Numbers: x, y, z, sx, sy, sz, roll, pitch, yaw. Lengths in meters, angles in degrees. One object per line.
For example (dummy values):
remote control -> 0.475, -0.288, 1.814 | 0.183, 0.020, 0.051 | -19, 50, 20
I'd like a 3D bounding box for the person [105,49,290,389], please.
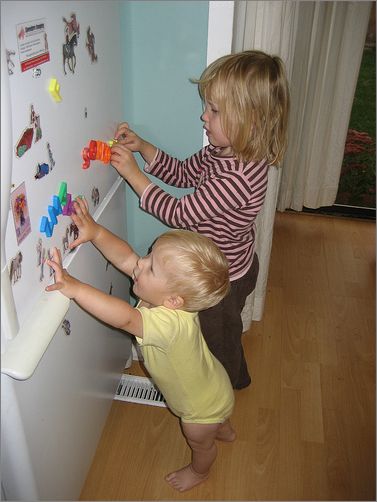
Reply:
person -> 0.066, 0.012, 1.029 | 0.365, 1.126, 0.302 | 4, 27, 7
